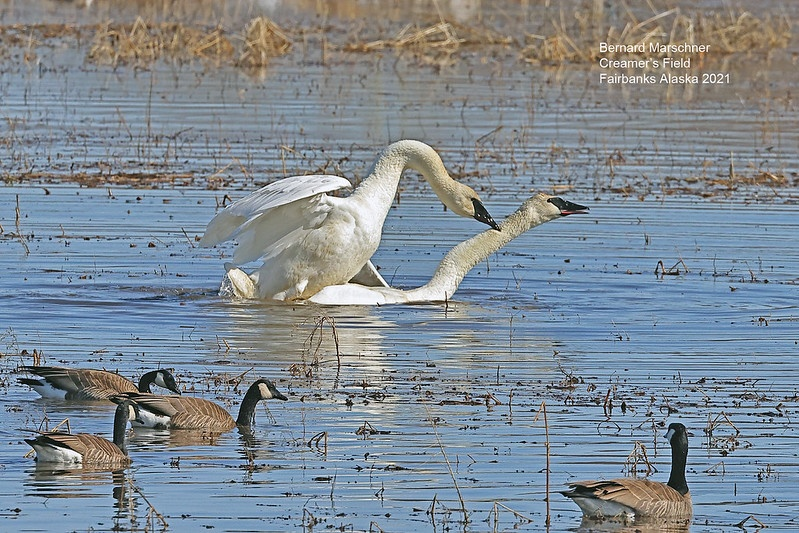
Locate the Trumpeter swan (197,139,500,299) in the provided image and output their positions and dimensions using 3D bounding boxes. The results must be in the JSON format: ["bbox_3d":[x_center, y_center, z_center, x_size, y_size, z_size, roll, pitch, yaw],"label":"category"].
[{"bbox_3d":[-0.717,-0.513,19.749,4.017,3.008,2.106,-3,82,7],"label":"Trumpeter swan"}]

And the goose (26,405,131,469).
[{"bbox_3d":[-3.185,1.690,14.737,0.972,0.784,0.670,-3,77,-4],"label":"goose"}]

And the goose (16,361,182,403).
[{"bbox_3d":[-3.311,1.313,16.081,1.811,0.476,0.581,9,92,-3],"label":"goose"}]

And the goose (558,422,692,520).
[{"bbox_3d":[2.135,2.071,14.227,1.581,0.555,0.846,2,90,-25],"label":"goose"}]
